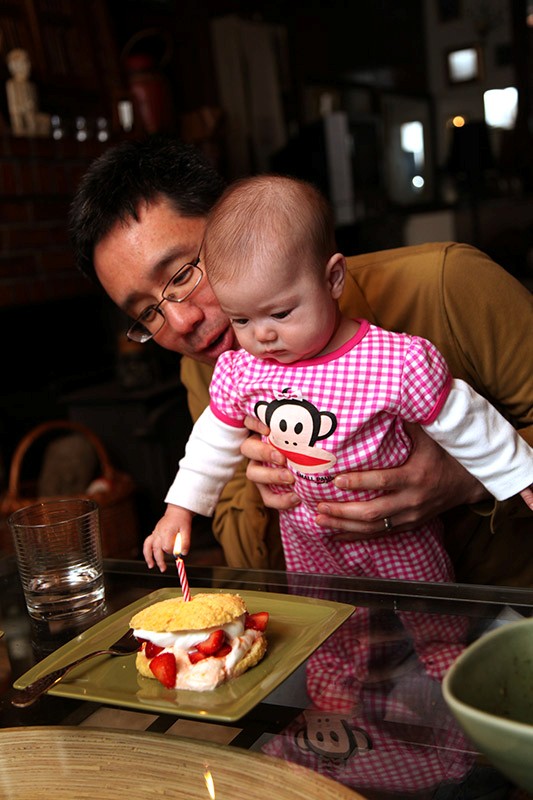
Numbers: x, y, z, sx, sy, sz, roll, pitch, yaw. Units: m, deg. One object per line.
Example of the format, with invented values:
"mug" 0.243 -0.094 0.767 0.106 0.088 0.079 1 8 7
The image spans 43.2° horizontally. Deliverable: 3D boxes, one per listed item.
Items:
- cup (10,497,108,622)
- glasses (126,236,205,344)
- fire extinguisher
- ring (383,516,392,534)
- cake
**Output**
"cup" -0.246 0.198 0.897 0.132 0.145 0.144 -5 5 0
"glasses" -0.165 -0.186 1.110 0.140 0.041 0.139 -51 2 -36
"fire extinguisher" -0.482 -1.278 2.804 0.159 0.316 0.106 -10 9 -8
"ring" 0.165 0.169 0.912 0.017 0.023 0.022 1 -5 11
"cake" -0.066 0.219 0.647 0.086 0.038 0.089 -12 13 -41
